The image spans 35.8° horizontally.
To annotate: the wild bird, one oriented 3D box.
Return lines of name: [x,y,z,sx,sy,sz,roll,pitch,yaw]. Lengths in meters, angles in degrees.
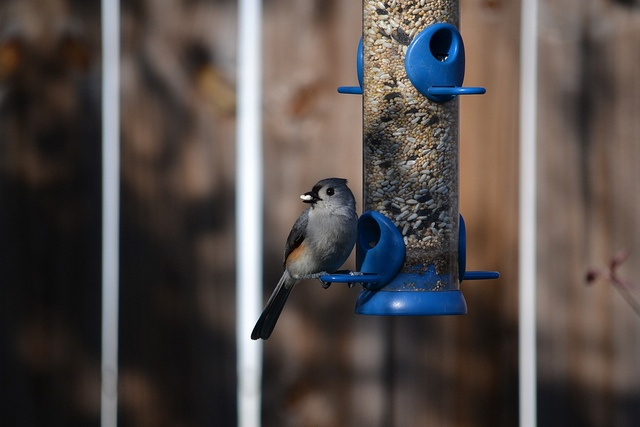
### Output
wild bird: [-0.026,0.181,3.865,0.398,0.652,0.158,2,-10,27]
